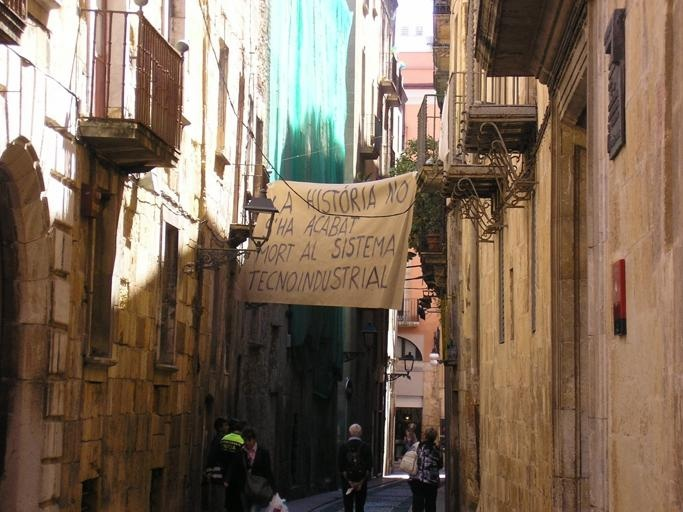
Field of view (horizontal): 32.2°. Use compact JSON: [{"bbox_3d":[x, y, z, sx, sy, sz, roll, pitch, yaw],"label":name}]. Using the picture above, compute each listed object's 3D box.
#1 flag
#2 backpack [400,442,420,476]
[{"bbox_3d":[-0.338,-0.253,19.726,2.634,2.504,0.223,0,-7,24],"label":"flag"},{"bbox_3d":[1.015,3.004,17.754,0.262,0.250,0.463,6,-54,-25],"label":"backpack"}]
